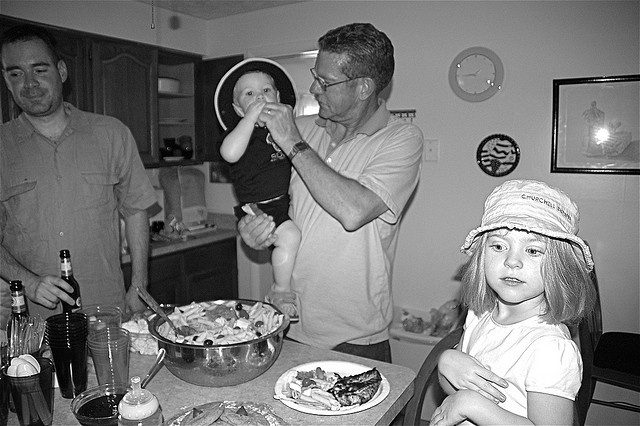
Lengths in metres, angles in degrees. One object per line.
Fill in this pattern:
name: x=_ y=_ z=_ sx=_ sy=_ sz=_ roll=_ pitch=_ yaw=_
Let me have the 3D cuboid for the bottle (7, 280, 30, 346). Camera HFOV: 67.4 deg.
bottle: x=-1.187 y=0.375 z=1.882 sx=0.073 sy=0.244 sz=0.143 roll=-4 pitch=9 yaw=-34

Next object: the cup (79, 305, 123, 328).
cup: x=-0.918 y=0.437 z=2.022 sx=0.111 sy=0.091 sz=0.123 roll=2 pitch=-1 yaw=-2

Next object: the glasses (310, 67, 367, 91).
glasses: x=0.054 y=-0.604 z=2.191 sx=0.149 sy=0.045 sz=0.142 roll=-15 pitch=36 yaw=-17

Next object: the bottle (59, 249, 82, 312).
bottle: x=-1.104 y=0.305 z=2.125 sx=0.074 sy=0.329 sz=0.274 roll=-3 pitch=9 yaw=-28

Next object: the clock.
clock: x=1.236 y=-1.099 z=3.769 sx=0.473 sy=0.477 sz=0.045 roll=-1 pitch=4 yaw=26

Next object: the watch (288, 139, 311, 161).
watch: x=-0.101 y=-0.282 z=2.168 sx=0.063 sy=0.099 sz=0.099 roll=40 pitch=-17 yaw=5

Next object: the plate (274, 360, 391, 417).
plate: x=0.047 y=0.672 z=1.852 sx=0.434 sy=0.115 sz=0.244 roll=2 pitch=7 yaw=6
